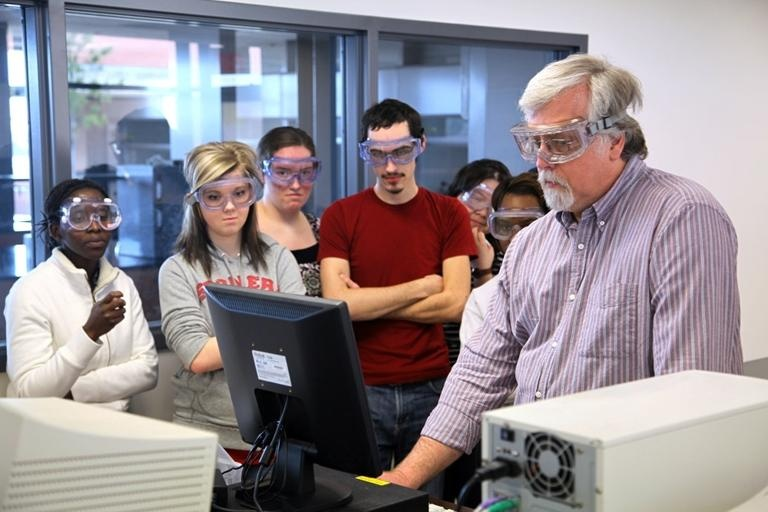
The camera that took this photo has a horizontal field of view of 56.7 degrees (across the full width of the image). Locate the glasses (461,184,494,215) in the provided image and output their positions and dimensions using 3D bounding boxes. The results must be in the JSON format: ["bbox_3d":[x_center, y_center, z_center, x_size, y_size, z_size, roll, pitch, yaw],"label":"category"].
[{"bbox_3d":[0.485,-0.302,3.746,0.136,0.076,0.170,3,-21,-7],"label":"glasses"}]

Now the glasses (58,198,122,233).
[{"bbox_3d":[-1.197,-0.171,2.911,0.163,0.076,0.162,0,-4,-37],"label":"glasses"}]

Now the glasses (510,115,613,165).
[{"bbox_3d":[0.558,-0.389,2.209,0.210,0.071,0.163,-25,23,-29],"label":"glasses"}]

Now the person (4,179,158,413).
[{"bbox_3d":[-1.275,0.188,2.929,0.589,1.000,0.460,-5,9,-17],"label":"person"}]
